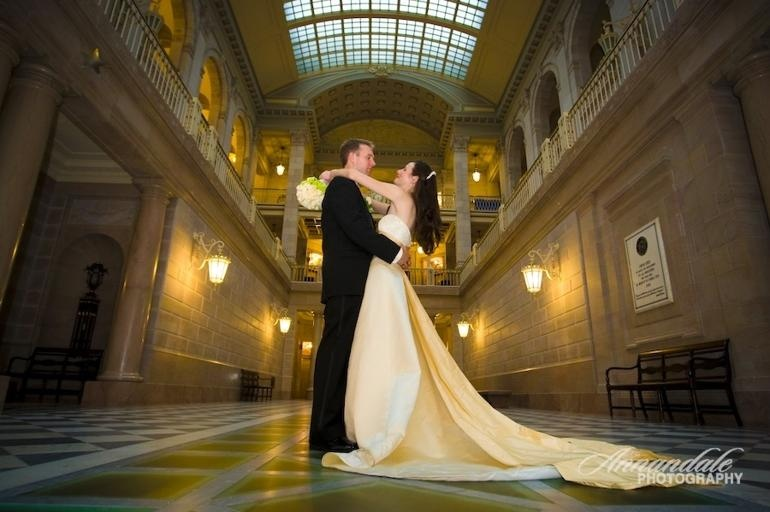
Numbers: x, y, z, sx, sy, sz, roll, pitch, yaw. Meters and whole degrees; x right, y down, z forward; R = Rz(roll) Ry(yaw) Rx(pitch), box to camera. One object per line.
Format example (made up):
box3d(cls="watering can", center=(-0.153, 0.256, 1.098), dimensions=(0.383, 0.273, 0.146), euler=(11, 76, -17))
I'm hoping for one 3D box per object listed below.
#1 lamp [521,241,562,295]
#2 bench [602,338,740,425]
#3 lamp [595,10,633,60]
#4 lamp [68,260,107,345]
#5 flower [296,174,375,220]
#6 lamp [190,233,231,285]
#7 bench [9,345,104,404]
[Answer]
box3d(cls="lamp", center=(3.764, 0.308, 9.930), dimensions=(0.898, 1.379, 0.488), euler=(-4, -15, 21))
box3d(cls="bench", center=(4.078, 1.892, 6.007), dimensions=(0.661, 1.078, 1.838), euler=(3, -17, -1))
box3d(cls="lamp", center=(5.053, -4.841, 8.973), dimensions=(0.587, 1.205, 0.370), euler=(8, -13, 35))
box3d(cls="lamp", center=(-6.590, 1.066, 9.106), dimensions=(0.495, 1.991, 0.629), euler=(15, -24, -32))
box3d(cls="flower", center=(-0.578, -0.595, 4.087), dimensions=(0.257, 0.445, 0.580), euler=(-1, -3, 36))
box3d(cls="lamp", center=(-4.186, 0.035, 9.836), dimensions=(0.756, 1.321, 0.577), euler=(5, -19, -21))
box3d(cls="bench", center=(-6.535, 2.342, 8.084), dimensions=(1.435, 0.926, 0.567), euler=(4, -38, -3))
